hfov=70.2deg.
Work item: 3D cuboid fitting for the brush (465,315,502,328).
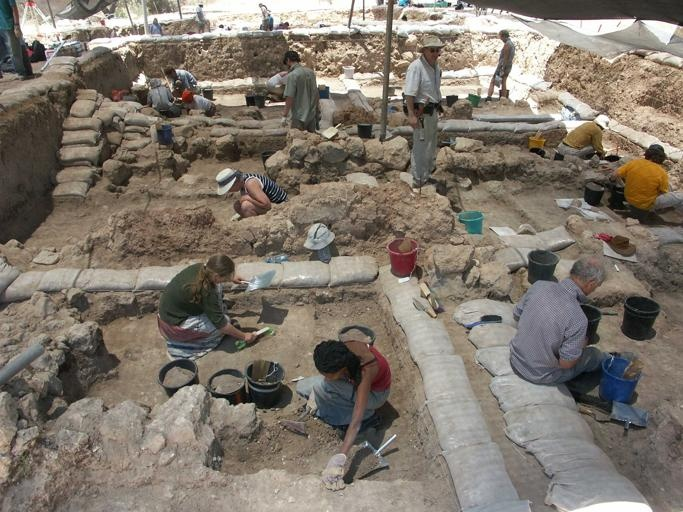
[{"bbox_3d":[1.528,0.703,5.238,0.295,0.070,0.161,-13,23,10],"label":"brush"}]

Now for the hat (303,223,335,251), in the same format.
[{"bbox_3d":[-0.276,-0.181,6.166,0.411,0.432,0.366,-7,36,-9],"label":"hat"}]

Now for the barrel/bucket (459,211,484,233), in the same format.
[{"bbox_3d":[1.838,-0.465,6.907,0.308,0.248,0.321,-5,39,4],"label":"barrel/bucket"}]

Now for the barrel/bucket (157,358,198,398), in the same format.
[{"bbox_3d":[-1.708,1.236,5.078,0.371,0.283,0.374,1,36,-1],"label":"barrel/bucket"}]

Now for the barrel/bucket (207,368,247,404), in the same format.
[{"bbox_3d":[-1.166,1.321,4.990,0.351,0.259,0.311,9,42,4],"label":"barrel/bucket"}]

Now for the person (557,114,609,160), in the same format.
[{"bbox_3d":[4.370,-2.041,8.777,0.879,0.548,0.489,-9,37,-12],"label":"person"}]

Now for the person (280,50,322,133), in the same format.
[{"bbox_3d":[-0.762,-2.716,8.376,0.560,1.411,0.766,7,37,10],"label":"person"}]

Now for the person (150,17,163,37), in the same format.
[{"bbox_3d":[-7.666,-9.283,19.869,0.402,0.474,0.921,-14,38,-18],"label":"person"}]

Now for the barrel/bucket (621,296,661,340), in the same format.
[{"bbox_3d":[3.324,0.687,5.406,0.387,0.361,0.367,0,36,0],"label":"barrel/bucket"}]

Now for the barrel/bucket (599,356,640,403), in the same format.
[{"bbox_3d":[2.679,1.198,4.674,0.300,0.335,0.313,-4,25,2],"label":"barrel/bucket"}]

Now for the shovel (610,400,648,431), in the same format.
[{"bbox_3d":[2.737,1.496,4.596,0.413,0.121,0.226,-4,36,-5],"label":"shovel"}]

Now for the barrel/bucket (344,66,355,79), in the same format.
[{"bbox_3d":[0.234,-6.148,16.420,0.423,0.310,0.412,-1,47,1],"label":"barrel/bucket"}]

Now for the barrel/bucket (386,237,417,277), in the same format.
[{"bbox_3d":[0.723,0.040,5.823,0.423,0.382,0.433,-1,38,1],"label":"barrel/bucket"}]

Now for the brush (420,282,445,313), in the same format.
[{"bbox_3d":[1.041,0.483,5.526,0.073,0.038,0.372,-10,38,-28],"label":"brush"}]

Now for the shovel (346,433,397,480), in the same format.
[{"bbox_3d":[0.240,1.876,4.489,0.227,0.070,0.501,27,38,30],"label":"shovel"}]

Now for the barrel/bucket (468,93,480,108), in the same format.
[{"bbox_3d":[3.319,-3.861,12.151,0.305,0.279,0.520,7,36,11],"label":"barrel/bucket"}]

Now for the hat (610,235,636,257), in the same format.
[{"bbox_3d":[3.660,-0.132,6.314,0.214,0.127,0.328,-4,15,6],"label":"hat"}]

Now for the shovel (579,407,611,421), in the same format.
[{"bbox_3d":[2.415,1.505,4.629,0.283,0.042,0.108,14,38,20],"label":"shovel"}]

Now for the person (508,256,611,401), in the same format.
[{"bbox_3d":[2.153,0.608,4.740,0.893,1.240,1.023,6,30,4],"label":"person"}]

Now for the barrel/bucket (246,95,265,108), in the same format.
[{"bbox_3d":[-2.267,-4.026,12.735,0.453,0.353,0.364,-6,36,-8],"label":"barrel/bucket"}]

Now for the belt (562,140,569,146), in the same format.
[{"bbox_3d":[4.087,-2.033,8.871,0.095,0.029,0.095,25,67,35],"label":"belt"}]

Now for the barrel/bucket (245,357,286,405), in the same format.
[{"bbox_3d":[-0.796,1.295,5.022,0.422,0.303,0.427,1,39,-1],"label":"barrel/bucket"}]

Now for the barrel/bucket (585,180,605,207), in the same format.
[{"bbox_3d":[3.982,-0.976,7.654,0.327,0.274,0.352,-1,31,1],"label":"barrel/bucket"}]

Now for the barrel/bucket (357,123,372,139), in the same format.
[{"bbox_3d":[0.404,-2.186,8.551,0.253,0.257,0.300,0,36,1],"label":"barrel/bucket"}]
